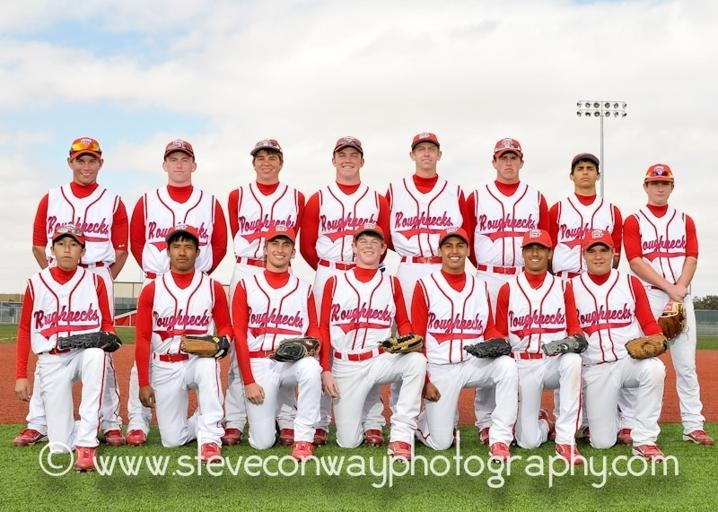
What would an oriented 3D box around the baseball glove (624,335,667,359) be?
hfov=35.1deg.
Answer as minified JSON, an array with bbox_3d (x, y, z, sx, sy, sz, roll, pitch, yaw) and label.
[{"bbox_3d":[3.437,1.080,13.614,0.416,0.263,0.175,-5,-5,-5],"label":"baseball glove"}]

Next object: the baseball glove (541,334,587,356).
[{"bbox_3d":[2.467,1.060,13.658,0.457,0.246,0.188,-9,-2,-6],"label":"baseball glove"}]

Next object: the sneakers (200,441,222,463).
[{"bbox_3d":[-1.723,2.266,13.156,0.232,0.218,0.239,-2,-3,-13],"label":"sneakers"}]

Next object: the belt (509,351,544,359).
[{"bbox_3d":[2.056,1.211,13.897,0.393,0.100,0.088,-4,-4,33],"label":"belt"}]

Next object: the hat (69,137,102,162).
[{"bbox_3d":[-3.466,-1.358,14.369,0.367,0.253,0.282,-1,-3,-19],"label":"hat"}]

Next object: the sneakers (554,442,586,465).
[{"bbox_3d":[2.475,2.309,13.296,0.260,0.214,0.524,-2,-3,-7],"label":"sneakers"}]

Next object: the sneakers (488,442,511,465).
[{"bbox_3d":[1.645,2.279,13.236,0.245,0.217,0.356,-3,-3,6],"label":"sneakers"}]

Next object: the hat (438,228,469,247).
[{"bbox_3d":[1.206,-0.270,14.040,0.307,0.220,0.493,2,18,9],"label":"hat"}]

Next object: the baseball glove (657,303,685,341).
[{"bbox_3d":[4.042,0.735,14.493,0.370,0.294,0.635,-12,16,22],"label":"baseball glove"}]

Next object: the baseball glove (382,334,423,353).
[{"bbox_3d":[0.524,1.041,13.636,0.361,0.149,0.239,-4,4,2],"label":"baseball glove"}]

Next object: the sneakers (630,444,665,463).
[{"bbox_3d":[3.421,2.303,13.373,0.150,0.128,0.360,3,-7,-31],"label":"sneakers"}]

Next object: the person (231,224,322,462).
[{"bbox_3d":[-1.004,1.016,13.774,1.101,2.748,0.755,-3,-3,14],"label":"person"}]

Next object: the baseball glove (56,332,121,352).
[{"bbox_3d":[-3.182,1.001,13.381,0.429,0.162,0.333,-3,-7,-12],"label":"baseball glove"}]

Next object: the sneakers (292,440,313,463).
[{"bbox_3d":[-0.665,2.271,13.311,0.238,0.219,0.317,-2,-3,-3],"label":"sneakers"}]

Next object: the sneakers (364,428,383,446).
[{"bbox_3d":[0.176,2.226,14.015,0.167,0.197,0.413,1,-6,0],"label":"sneakers"}]

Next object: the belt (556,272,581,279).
[{"bbox_3d":[2.717,0.239,14.757,0.162,0.058,0.121,-12,-10,35],"label":"belt"}]

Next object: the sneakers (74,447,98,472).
[{"bbox_3d":[-3.127,2.299,12.934,0.240,0.260,0.221,-2,-3,-14],"label":"sneakers"}]

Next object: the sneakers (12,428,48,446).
[{"bbox_3d":[-3.990,2.200,13.808,0.433,0.174,0.155,11,-18,-29],"label":"sneakers"}]

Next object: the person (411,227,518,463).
[{"bbox_3d":[1.254,1.031,13.810,1.303,2.746,0.945,-3,-3,11],"label":"person"}]

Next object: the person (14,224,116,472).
[{"bbox_3d":[-3.504,1.044,13.471,1.180,2.848,0.989,-3,-3,10],"label":"person"}]

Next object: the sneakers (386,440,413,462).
[{"bbox_3d":[0.486,2.277,13.324,0.285,0.224,0.222,-2,-3,3],"label":"sneakers"}]

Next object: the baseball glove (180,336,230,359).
[{"bbox_3d":[-1.844,1.077,13.591,0.595,0.274,0.289,-2,-3,-9],"label":"baseball glove"}]

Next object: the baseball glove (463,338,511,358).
[{"bbox_3d":[1.562,1.090,13.598,0.425,0.244,0.101,3,-48,0],"label":"baseball glove"}]

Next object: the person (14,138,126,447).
[{"bbox_3d":[-3.489,1.094,13.312,1.194,3.114,0.856,-7,29,-16],"label":"person"}]

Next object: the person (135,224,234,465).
[{"bbox_3d":[-2.129,1.001,13.670,1.154,2.803,0.959,-2,-3,1],"label":"person"}]

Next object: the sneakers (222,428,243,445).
[{"bbox_3d":[-1.574,2.210,13.963,0.186,0.184,0.470,1,-13,-3],"label":"sneakers"}]

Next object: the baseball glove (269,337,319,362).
[{"bbox_3d":[-0.770,1.107,13.549,0.544,0.251,0.190,-4,-4,1],"label":"baseball glove"}]

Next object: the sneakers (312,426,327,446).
[{"bbox_3d":[-0.491,2.202,13.933,0.186,0.246,0.510,0,-15,1],"label":"sneakers"}]

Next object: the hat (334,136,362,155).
[{"bbox_3d":[-0.137,-1.439,14.523,0.328,0.198,0.511,-2,-3,-3],"label":"hat"}]

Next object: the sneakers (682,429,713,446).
[{"bbox_3d":[4.234,2.245,14.118,0.351,0.169,0.245,-3,-3,15],"label":"sneakers"}]
